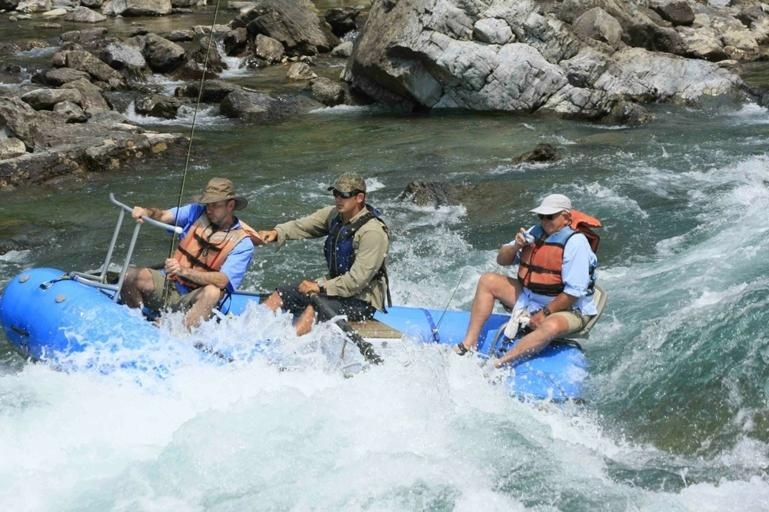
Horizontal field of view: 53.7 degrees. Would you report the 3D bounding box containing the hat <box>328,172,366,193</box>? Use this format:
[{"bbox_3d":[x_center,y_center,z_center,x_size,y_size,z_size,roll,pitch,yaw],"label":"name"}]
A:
[{"bbox_3d":[-0.426,-0.827,8.781,0.383,0.169,0.258,1,1,-30],"label":"hat"}]

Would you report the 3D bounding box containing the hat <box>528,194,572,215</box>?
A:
[{"bbox_3d":[2.072,-0.596,8.905,0.518,0.166,0.349,-7,5,-43],"label":"hat"}]

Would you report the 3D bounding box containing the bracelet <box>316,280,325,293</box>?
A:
[{"bbox_3d":[-0.746,0.364,8.828,0.115,0.147,0.146,-1,-21,-3],"label":"bracelet"}]

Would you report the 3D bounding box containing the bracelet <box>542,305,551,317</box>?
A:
[{"bbox_3d":[1.895,0.653,8.804,0.095,0.102,0.091,3,4,24],"label":"bracelet"}]

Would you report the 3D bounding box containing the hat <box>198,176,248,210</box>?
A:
[{"bbox_3d":[-1.847,-0.730,8.942,0.463,0.205,0.445,-3,-9,29],"label":"hat"}]
